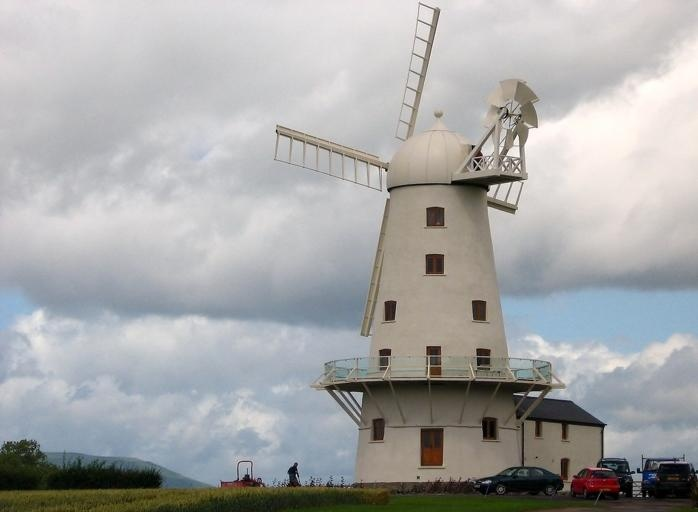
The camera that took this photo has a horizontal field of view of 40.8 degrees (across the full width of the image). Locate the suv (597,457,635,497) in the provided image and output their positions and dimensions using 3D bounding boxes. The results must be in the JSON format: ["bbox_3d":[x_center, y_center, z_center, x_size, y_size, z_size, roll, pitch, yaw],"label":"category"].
[{"bbox_3d":[16.217,13.571,57.637,2.347,2.318,4.568,3,-8,18],"label":"suv"}]

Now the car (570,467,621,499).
[{"bbox_3d":[13.223,12.368,50.910,1.616,1.584,2.416,6,-8,-25],"label":"car"}]
